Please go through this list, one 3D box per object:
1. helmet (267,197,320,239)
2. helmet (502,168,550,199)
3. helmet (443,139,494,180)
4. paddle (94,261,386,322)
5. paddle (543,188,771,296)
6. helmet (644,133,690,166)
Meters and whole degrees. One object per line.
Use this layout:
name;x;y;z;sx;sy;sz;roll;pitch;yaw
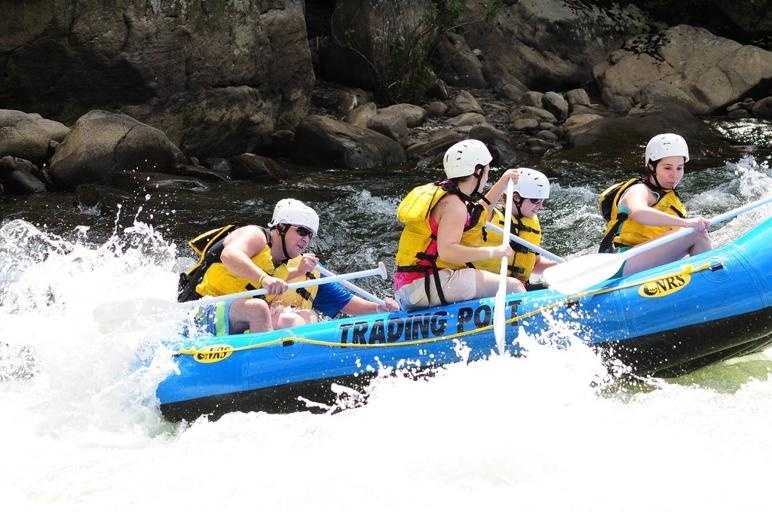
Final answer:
helmet;-0.892;-0.391;8.423;0.439;0.253;0.324;18;4;-1
helmet;1.449;-0.731;8.648;0.377;0.219;0.262;5;21;18
helmet;0.827;-0.919;8.171;0.442;0.265;0.332;-3;-7;-43
paddle;-1.551;0.372;8.608;2.267;0.253;0.294;-8;34;4
paddle;2.805;-0.120;8.846;3.085;0.127;0.422;-20;51;-12
helmet;2.829;-1.039;8.614;0.297;0.333;0.377;1;-13;-17
